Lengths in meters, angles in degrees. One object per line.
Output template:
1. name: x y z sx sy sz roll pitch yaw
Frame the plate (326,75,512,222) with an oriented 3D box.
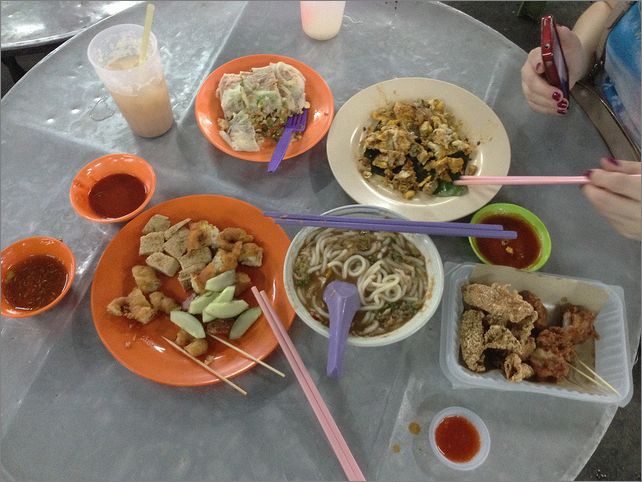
1. plate: 0.610 -0.635 3.461 0.962 0.135 1.046 -11 69 0

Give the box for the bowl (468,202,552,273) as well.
1. bowl: 1.117 -0.015 3.473 0.433 0.406 0.520 5 30 3

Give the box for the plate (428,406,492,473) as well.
1. plate: 0.743 1.079 3.049 0.362 0.349 0.245 4 57 2

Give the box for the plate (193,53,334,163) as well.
1. plate: -0.360 -0.875 3.666 0.706 0.754 0.959 26 41 35

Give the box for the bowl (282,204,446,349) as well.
1. bowl: 0.195 0.173 3.328 1.010 0.747 0.960 2 35 -1

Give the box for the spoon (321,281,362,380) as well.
1. spoon: 0.112 0.462 3.016 0.200 0.154 0.537 0 67 -2

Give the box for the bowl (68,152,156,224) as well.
1. bowl: -1.287 -0.340 3.468 0.492 0.446 0.445 -14 36 -24
